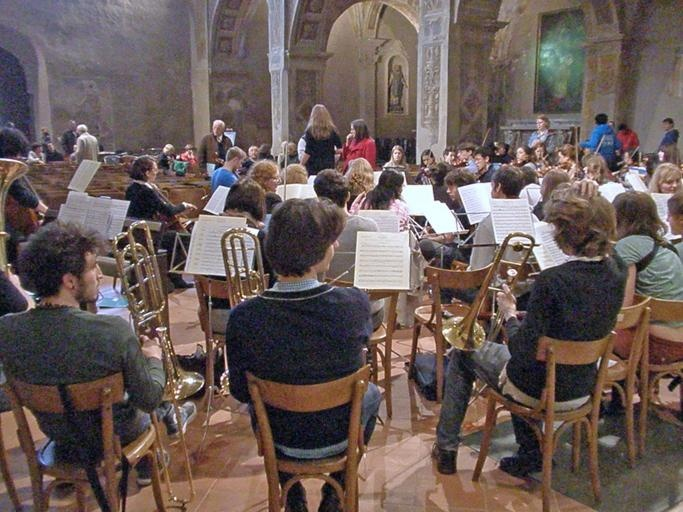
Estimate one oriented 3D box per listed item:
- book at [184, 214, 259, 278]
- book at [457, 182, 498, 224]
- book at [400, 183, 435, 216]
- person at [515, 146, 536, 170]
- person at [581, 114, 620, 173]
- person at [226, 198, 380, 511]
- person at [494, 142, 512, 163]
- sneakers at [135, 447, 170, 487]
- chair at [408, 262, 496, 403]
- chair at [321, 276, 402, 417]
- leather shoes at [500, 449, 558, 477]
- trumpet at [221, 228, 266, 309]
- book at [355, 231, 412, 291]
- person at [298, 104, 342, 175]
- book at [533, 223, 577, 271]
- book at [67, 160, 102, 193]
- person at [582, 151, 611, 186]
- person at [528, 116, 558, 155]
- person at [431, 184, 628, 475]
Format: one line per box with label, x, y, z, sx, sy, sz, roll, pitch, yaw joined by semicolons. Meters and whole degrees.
book;-0.786;-0.084;3.769;0.111;0.524;0.545;-14;-18;42
book;1.137;-0.452;4.571;0.296;0.323;0.079;-10;-5;-28
book;0.737;-0.592;5.343;0.322;0.391;0.086;3;-9;5
person;2.924;-1.590;8.775;0.274;0.278;0.719;3;12;18
person;4.981;-1.908;10.617;0.659;1.536;0.488;-5;12;-9
person;-0.170;0.497;2.542;0.697;1.505;0.358;-1;11;-2
person;2.710;-1.716;9.249;0.281;0.304;0.834;2;12;15
sneakers;-1.157;1.206;3.297;0.102;0.159;0.328;5;11;-14
chair;0.781;0.537;4.122;0.488;1.096;0.516;-17;25;-40
chair;0.182;0.489;3.933;0.537;1.237;0.547;6;38;8
leather shoes;1.065;1.216;3.226;0.111;0.110;0.236;-2;1;-41
trumpet;-0.589;0.038;3.386;0.264;0.832;0.109;3;53;-2
book;0.248;0.032;3.370;0.327;0.368;0.081;0;-8;-1
person;-0.278;-1.527;7.302;0.518;0.905;0.679;-1;11;-1
book;1.324;-0.011;3.523;0.242;0.383;0.087;-12;-1;10
book;-2.653;-0.818;5.735;0.369;0.032;0.515;3;-37;-18
person;2.703;-0.922;5.839;0.246;0.310;0.761;4;12;23
person;3.831;-2.266;10.603;0.442;0.820;0.528;-13;15;-37
person;1.016;0.491;2.993;0.912;1.627;0.490;5;13;25
